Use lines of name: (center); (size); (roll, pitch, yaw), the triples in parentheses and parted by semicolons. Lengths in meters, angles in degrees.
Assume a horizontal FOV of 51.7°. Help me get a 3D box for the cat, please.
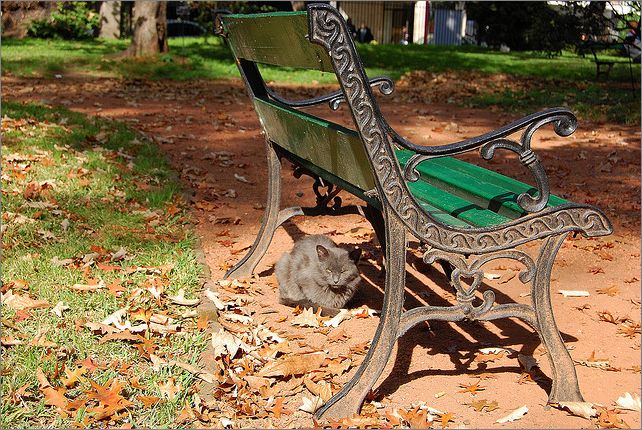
cat: (-0.059, 0.542, 6.443); (0.591, 0.581, 0.793); (-2, 36, -18)
